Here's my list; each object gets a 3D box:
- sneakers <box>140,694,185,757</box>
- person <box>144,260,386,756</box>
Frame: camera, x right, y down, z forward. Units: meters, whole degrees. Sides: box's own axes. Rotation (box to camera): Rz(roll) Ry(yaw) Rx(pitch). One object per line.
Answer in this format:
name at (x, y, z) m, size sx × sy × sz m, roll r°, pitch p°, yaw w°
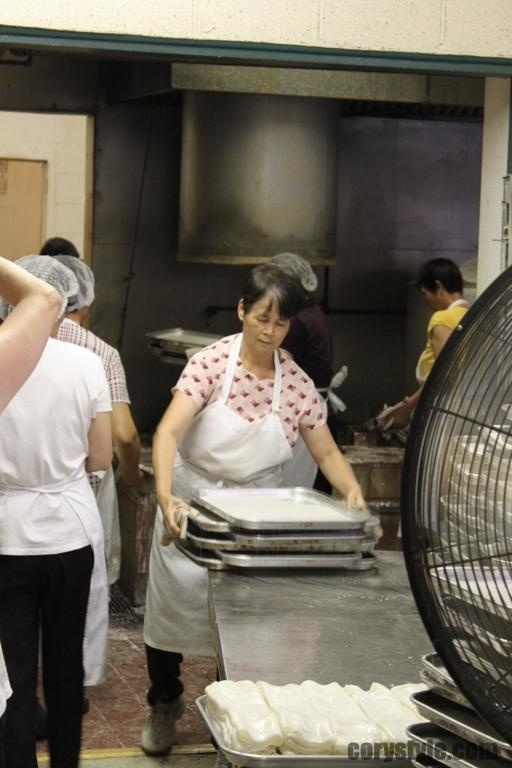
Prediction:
sneakers at (-0.322, 1.192, 2.556) m, size 0.088 × 0.178 × 0.178 m, roll 19°, pitch -24°, yaw -2°
person at (-0.035, 0.454, 2.304) m, size 0.652 × 1.649 × 0.767 m, roll -1°, pitch 2°, yaw -9°
